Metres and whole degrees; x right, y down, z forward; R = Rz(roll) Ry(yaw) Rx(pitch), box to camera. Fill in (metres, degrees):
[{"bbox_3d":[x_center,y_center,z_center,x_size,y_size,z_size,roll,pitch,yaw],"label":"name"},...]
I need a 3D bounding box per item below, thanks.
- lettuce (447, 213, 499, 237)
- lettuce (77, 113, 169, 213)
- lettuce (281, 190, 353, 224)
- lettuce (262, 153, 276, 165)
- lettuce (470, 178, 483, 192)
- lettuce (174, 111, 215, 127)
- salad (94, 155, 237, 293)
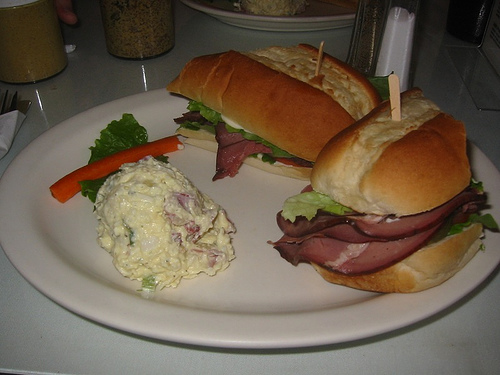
[{"bbox_3d":[1.091,0.174,2.010,0.200,0.128,0.168,0,16,-12],"label":"lettuce"},{"bbox_3d":[-0.879,-0.309,2.857,0.647,0.130,0.607,1,76,-29],"label":"lettuce"},{"bbox_3d":[0.343,0.081,2.173,0.257,0.160,0.274,-5,17,-26],"label":"lettuce"},{"bbox_3d":[0.124,-0.182,2.718,0.077,0.020,0.053,26,36,26],"label":"lettuce"},{"bbox_3d":[1.165,-0.010,2.131,0.059,0.016,0.055,-10,40,-15],"label":"lettuce"},{"bbox_3d":[-0.413,-0.465,2.934,0.160,0.042,0.160,-19,62,-18],"label":"lettuce"},{"bbox_3d":[-0.424,0.111,2.173,0.723,0.249,0.777,-9,53,-29],"label":"salad"}]
